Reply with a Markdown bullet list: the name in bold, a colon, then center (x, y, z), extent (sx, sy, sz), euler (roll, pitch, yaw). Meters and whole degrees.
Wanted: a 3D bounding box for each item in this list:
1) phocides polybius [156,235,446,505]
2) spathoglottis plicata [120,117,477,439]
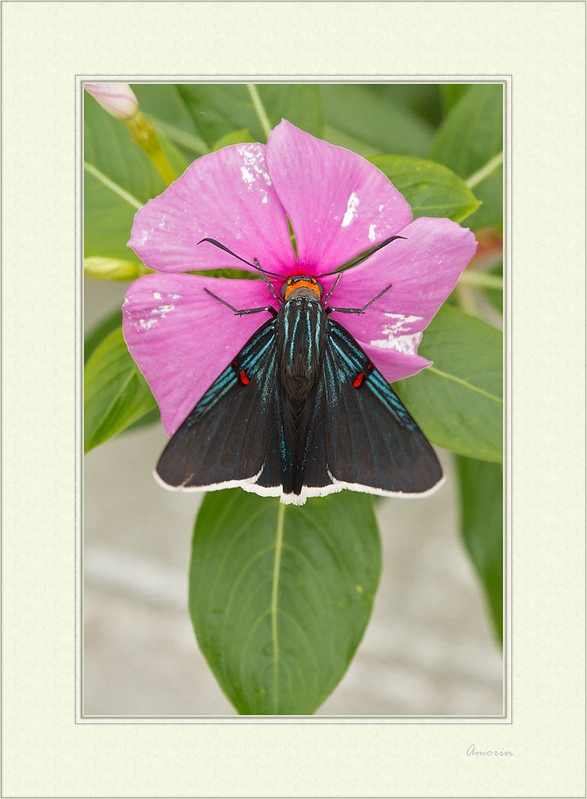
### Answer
- **phocides polybius**: center (0.038, -0.052, 1.212), extent (0.344, 0.392, 0.358), euler (3, -87, 10)
- **spathoglottis plicata**: center (-0.052, -0.149, 1.093), extent (0.439, 0.112, 0.446), euler (28, -79, -16)
